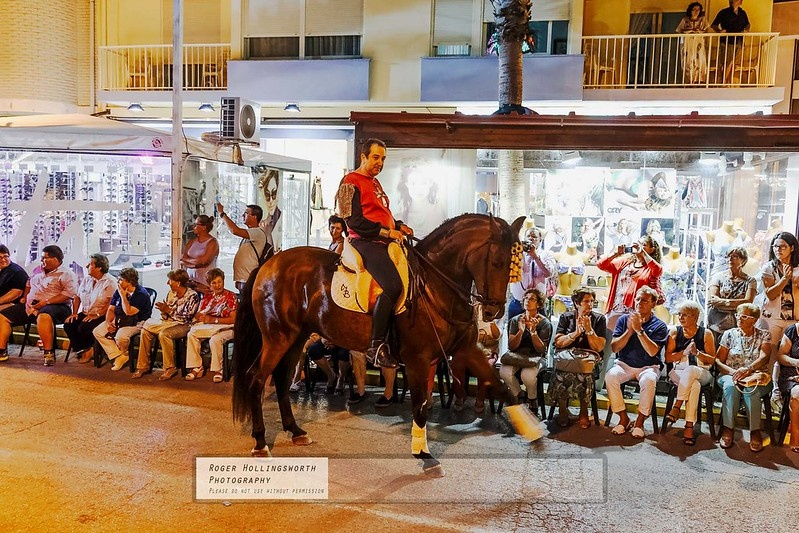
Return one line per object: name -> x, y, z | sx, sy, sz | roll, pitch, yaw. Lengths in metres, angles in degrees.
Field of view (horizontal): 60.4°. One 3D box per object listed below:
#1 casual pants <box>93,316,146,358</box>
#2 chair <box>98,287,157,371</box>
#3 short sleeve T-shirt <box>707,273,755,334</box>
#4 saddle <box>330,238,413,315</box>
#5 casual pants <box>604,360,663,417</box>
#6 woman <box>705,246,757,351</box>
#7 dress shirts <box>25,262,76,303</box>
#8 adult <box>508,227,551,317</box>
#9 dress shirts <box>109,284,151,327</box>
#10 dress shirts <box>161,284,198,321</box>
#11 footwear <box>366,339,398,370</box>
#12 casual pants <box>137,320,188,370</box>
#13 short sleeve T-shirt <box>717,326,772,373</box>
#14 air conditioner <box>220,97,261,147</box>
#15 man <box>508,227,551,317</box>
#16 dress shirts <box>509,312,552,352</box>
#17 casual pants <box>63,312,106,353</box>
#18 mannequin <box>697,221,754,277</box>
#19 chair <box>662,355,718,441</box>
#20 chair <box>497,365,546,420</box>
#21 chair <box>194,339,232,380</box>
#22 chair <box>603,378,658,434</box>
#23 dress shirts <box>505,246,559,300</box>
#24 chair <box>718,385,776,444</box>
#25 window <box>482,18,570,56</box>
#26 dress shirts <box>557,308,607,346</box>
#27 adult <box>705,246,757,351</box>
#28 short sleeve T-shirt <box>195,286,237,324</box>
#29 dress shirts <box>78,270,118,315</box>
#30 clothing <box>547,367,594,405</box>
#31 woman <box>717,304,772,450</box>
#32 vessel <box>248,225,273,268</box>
casual pants -> -4.999, 1.223, 12.272 | 0.713, 0.740, 0.211 | 31, 14, 19
chair -> -4.966, 0.890, 12.339 | 0.715, 1.689, 0.915 | 9, 13, 27
short sleeve T-shirt -> 5.181, 0.591, 10.708 | 0.553, 0.961, 0.778 | 12, -4, -33
saddle -> -0.366, 0.124, 9.379 | 0.766, 1.104, 0.576 | 17, 4, 21
casual pants -> 3.443, 1.805, 10.380 | 0.685, 0.911, 0.761 | 0, -16, 31
woman -> 5.303, 0.806, 11.080 | 0.697, 2.219, 0.636 | 2, 15, 19
dress shirts -> -6.505, 0.384, 13.070 | 0.989, 0.867, 0.608 | 2, -5, 7
adult -> 2.228, 0.269, 12.152 | 0.649, 2.084, 0.632 | 8, 32, 13
dress shirts -> -4.824, 0.728, 12.407 | 0.719, 0.805, 0.555 | 3, 2, 42
dress shirts -> -3.883, 0.692, 12.135 | 0.670, 0.668, 0.398 | 1, -7, 33
footwear -> -0.223, 1.176, 9.134 | 0.502, 0.399, 0.218 | 5, 4, 25
casual pants -> -4.138, 1.400, 12.231 | 0.790, 1.026, 0.855 | 0, -3, 32
short sleeve T-shirt -> 5.106, 1.192, 10.329 | 0.876, 0.918, 0.503 | 0, -10, 29
air conditioner -> -3.183, -2.895, 13.827 | 0.428, 0.849, 1.128 | 2, 6, 8
man -> 2.241, 0.281, 12.142 | 0.650, 2.068, 0.671 | 11, 34, 19
dress shirts -> 2.038, 1.055, 10.737 | 0.627, 0.722, 0.561 | 9, 4, 37
casual pants -> -5.766, 1.210, 12.555 | 0.359, 1.246, 0.598 | 22, 22, 36
mannequin -> 5.622, -0.301, 11.782 | 0.755, 1.060, 0.582 | 3, -14, 11
chair -> 4.165, 1.954, 10.432 | 0.869, 1.313, 0.901 | 1, -4, -3
chair -> 1.778, 1.830, 10.680 | 0.472, 0.633, 1.571 | 15, 5, 1
chair -> -3.182, 1.633, 12.025 | 0.786, 0.796, 0.603 | 1, -6, 1
chair -> 3.648, 2.171, 10.658 | 0.770, 1.041, 0.730 | -2, -1, 29
dress shirts -> 2.250, 0.140, 11.996 | 0.785, 0.896, 0.666 | -7, -4, 14
chair -> 5.051, 2.162, 10.159 | 0.843, 0.853, 0.865 | -4, -8, 39
window -> 3.080, -5.350, 16.057 | 2.123, 1.338, 0.102 | 1, 0, 2
dress shirts -> 2.829, 0.920, 10.663 | 0.860, 0.737, 0.481 | 0, -3, 23
adult -> 5.305, 0.797, 11.099 | 0.707, 2.239, 0.589 | 3, 16, 20
short sleeve T-shirt -> -3.175, 0.696, 11.902 | 0.523, 0.547, 0.309 | 6, -7, 7
dress shirts -> -5.606, 0.502, 12.687 | 0.747, 0.761, 0.431 | 3, -7, 9
clothing -> 2.583, 1.780, 10.506 | 0.765, 0.769, 0.423 | 2, -4, 5
woman -> 5.015, 1.531, 10.060 | 0.693, 1.965, 1.064 | 2, -1, 27
vessel -> -2.562, -0.379, 12.712 | 0.286, 0.555, 0.378 | 19, 23, -4
